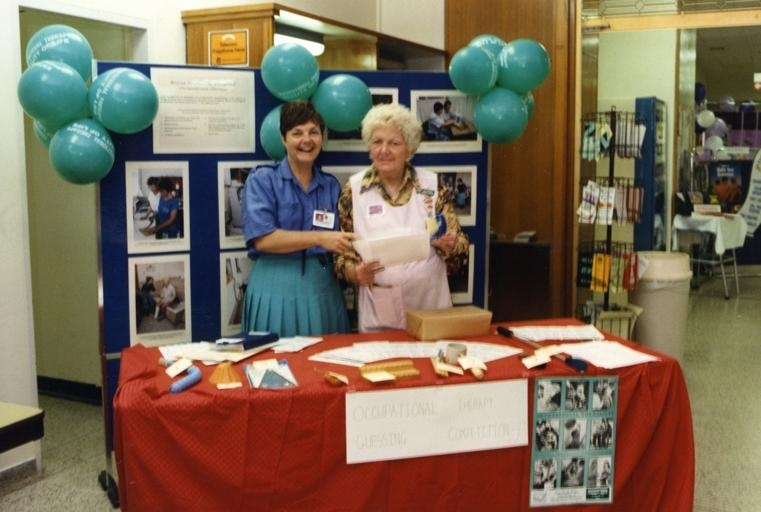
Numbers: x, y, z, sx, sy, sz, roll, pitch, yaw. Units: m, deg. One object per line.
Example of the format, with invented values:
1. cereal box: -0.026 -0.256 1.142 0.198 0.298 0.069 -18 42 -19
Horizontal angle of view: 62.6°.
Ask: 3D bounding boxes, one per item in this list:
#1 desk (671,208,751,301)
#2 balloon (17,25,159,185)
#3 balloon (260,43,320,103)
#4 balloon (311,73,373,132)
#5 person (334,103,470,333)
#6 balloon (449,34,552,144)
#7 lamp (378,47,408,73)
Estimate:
1. desk: 3.317 -0.050 6.280 0.630 0.971 0.731 2 12 32
2. balloon: -1.807 -0.910 3.804 0.869 1.030 0.438 -3 7 1
3. balloon: -0.599 -1.290 4.242 0.395 0.508 0.398 -4 -12 -8
4. balloon: -0.254 -1.083 4.345 0.408 0.374 0.430 11 30 29
5. person: 0.127 -0.206 3.877 0.829 1.427 0.647 -3 14 -5
6. balloon: 0.796 -1.144 4.242 0.664 0.753 0.285 -7 7 -19
7. lamp: 0.103 -2.123 6.704 0.157 0.220 0.569 7 18 30
